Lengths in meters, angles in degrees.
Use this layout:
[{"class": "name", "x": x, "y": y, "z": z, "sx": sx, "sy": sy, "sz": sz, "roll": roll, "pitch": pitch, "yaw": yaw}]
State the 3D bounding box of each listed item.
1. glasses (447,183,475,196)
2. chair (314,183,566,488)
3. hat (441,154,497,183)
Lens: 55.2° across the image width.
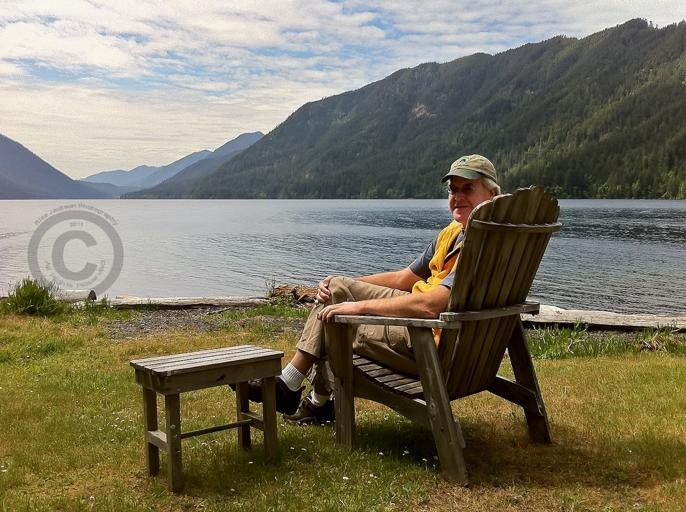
[{"class": "glasses", "x": 1.132, "y": -0.630, "z": 6.298, "sx": 0.185, "sy": 0.072, "sz": 0.136, "roll": 0, "pitch": 3, "yaw": -39}, {"class": "chair", "x": 0.744, "y": 0.720, "z": 6.641, "sx": 2.245, "sy": 3.303, "sz": 2.481, "roll": -1, "pitch": 1, "yaw": -44}, {"class": "hat", "x": 1.231, "y": -0.848, "z": 6.290, "sx": 0.400, "sy": 0.199, "sz": 0.297, "roll": 4, "pitch": 2, "yaw": -19}]
